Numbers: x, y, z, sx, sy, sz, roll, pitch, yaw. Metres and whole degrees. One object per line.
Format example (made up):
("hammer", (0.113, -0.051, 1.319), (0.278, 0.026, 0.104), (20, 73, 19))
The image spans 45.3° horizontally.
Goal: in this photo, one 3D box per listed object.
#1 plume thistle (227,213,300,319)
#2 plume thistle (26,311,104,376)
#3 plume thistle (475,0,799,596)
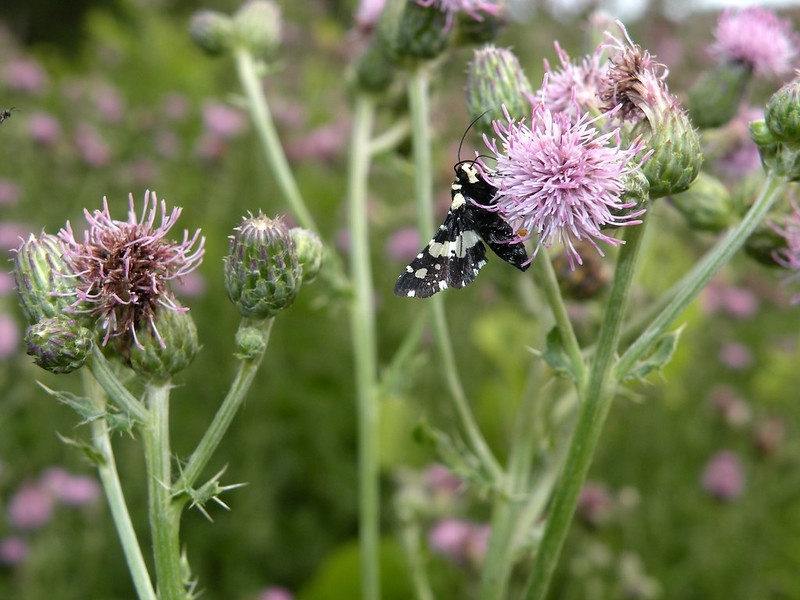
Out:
("plume thistle", (-0.540, -0.120, 3.832), (0.255, 0.399, 0.284), (9, 19, 32))
("plume thistle", (-1.286, 0.165, 3.648), (0.196, 0.208, 0.210), (10, 20, -1))
("plume thistle", (0.922, 0.202, 4.062), (1.491, 2.572, 0.981), (-12, 27, -44))
